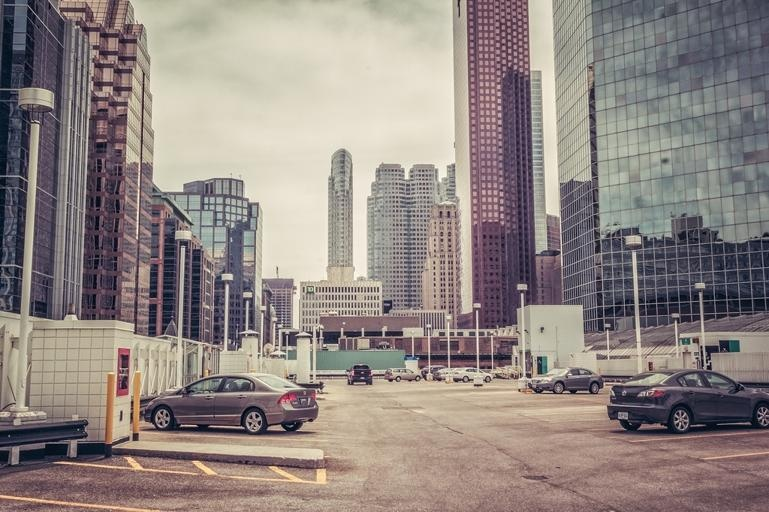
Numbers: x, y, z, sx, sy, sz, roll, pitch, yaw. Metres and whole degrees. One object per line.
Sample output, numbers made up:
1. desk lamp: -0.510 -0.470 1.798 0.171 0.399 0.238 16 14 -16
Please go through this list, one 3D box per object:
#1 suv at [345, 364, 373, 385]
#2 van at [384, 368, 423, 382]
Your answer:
1. suv: -2.317 11.035 80.272 2.010 1.996 3.357 0 -11 -6
2. van: 1.929 12.350 89.571 3.268 1.111 1.478 -1 -2 -15
